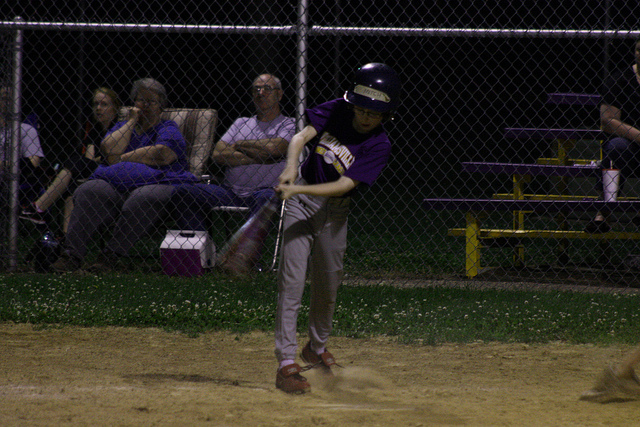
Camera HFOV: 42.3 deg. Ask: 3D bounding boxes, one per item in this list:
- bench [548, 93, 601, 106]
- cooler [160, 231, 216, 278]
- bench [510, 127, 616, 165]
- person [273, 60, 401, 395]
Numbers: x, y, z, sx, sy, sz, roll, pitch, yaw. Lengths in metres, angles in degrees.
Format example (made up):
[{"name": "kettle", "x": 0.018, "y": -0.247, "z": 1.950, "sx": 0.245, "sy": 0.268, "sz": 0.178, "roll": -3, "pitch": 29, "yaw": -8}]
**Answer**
[{"name": "bench", "x": 2.935, "y": -1.315, "z": 9.560, "sx": 0.551, "sy": 0.128, "sz": 0.918, "roll": 4, "pitch": 9, "yaw": 13}, {"name": "cooler", "x": -1.403, "y": 0.389, "z": 8.668, "sx": 0.475, "sy": 0.440, "sz": 0.491, "roll": 2, "pitch": 5, "yaw": 8}, {"name": "bench", "x": 3.062, "y": -0.837, "z": 10.122, "sx": 0.975, "sy": 0.456, "sz": 2.842, "roll": 4, "pitch": 9, "yaw": 17}, {"name": "person", "x": 0.106, "y": 0.077, "z": 6.781, "sx": 0.867, "sy": 2.591, "sz": 1.046, "roll": 2, "pitch": 8, "yaw": 5}]
